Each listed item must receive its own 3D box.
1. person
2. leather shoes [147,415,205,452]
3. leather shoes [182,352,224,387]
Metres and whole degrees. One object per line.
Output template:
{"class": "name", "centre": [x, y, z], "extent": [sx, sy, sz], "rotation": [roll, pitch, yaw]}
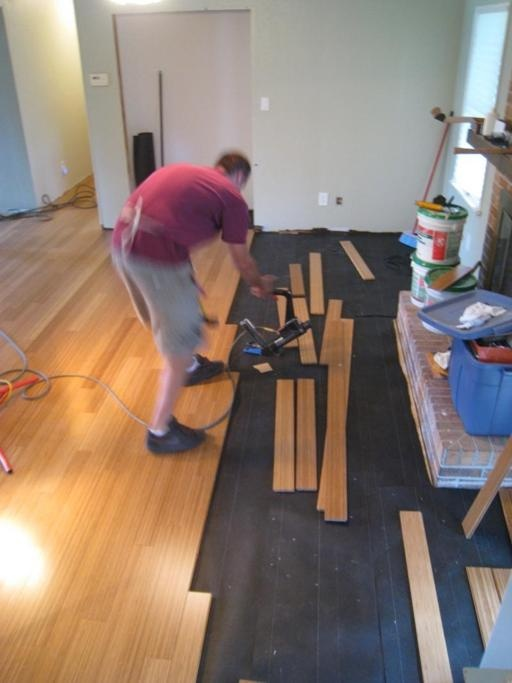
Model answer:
{"class": "person", "centre": [-0.267, -0.107, 1.995], "extent": [0.600, 1.173, 0.372], "rotation": [-14, 33, -17]}
{"class": "leather shoes", "centre": [-0.357, 0.443, 2.115], "extent": [0.242, 0.151, 0.133], "rotation": [-3, 37, -9]}
{"class": "leather shoes", "centre": [-0.274, 0.139, 2.715], "extent": [0.278, 0.130, 0.097], "rotation": [-25, 43, -31]}
